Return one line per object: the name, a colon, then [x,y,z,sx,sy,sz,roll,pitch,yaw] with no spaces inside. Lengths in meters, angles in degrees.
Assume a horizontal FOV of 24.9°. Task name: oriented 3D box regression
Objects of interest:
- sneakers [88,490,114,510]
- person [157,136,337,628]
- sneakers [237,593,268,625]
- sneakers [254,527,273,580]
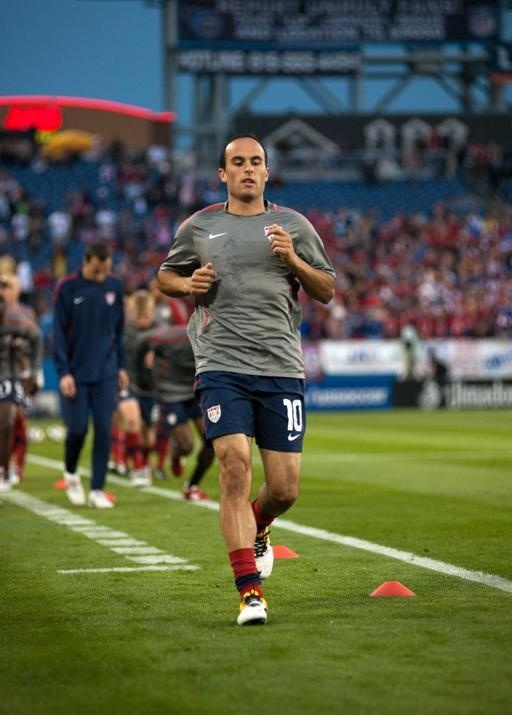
sneakers: [-1.012,0.938,7.586,0.167,0.133,0.202,1,3,-7]
person: [0.027,0.051,4.342,0.660,1.787,0.835,1,4,-16]
sneakers: [-0.011,0.871,3.986,0.102,0.113,0.132,2,3,0]
sneakers: [0.037,0.820,4.817,0.084,0.207,0.097,-4,8,4]
